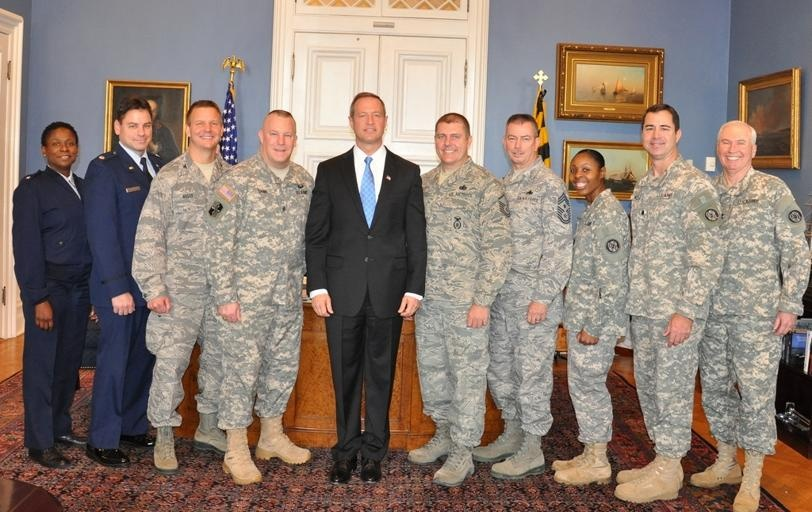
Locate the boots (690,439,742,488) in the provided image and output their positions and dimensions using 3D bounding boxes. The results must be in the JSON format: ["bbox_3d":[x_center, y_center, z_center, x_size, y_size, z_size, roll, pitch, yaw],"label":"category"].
[{"bbox_3d":[2.124,1.427,4.478,0.364,0.312,0.156,-5,5,1],"label":"boots"}]

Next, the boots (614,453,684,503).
[{"bbox_3d":[1.584,1.477,4.321,0.432,0.237,0.302,3,5,9],"label":"boots"}]

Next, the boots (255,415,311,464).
[{"bbox_3d":[-0.817,1.307,4.680,0.497,0.411,0.223,0,3,-7],"label":"boots"}]

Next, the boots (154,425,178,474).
[{"bbox_3d":[-1.659,1.308,4.460,0.132,0.291,0.330,4,11,-30],"label":"boots"}]

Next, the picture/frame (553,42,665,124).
[{"bbox_3d":[2.272,-1.943,7.289,1.207,0.828,0.370,4,14,7],"label":"picture/frame"}]

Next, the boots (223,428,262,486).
[{"bbox_3d":[-1.114,1.338,4.381,0.161,0.320,0.373,-3,14,-44],"label":"boots"}]

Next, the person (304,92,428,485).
[{"bbox_3d":[-0.270,0.222,4.296,0.785,2.507,0.640,0,15,-9],"label":"person"}]

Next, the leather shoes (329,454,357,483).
[{"bbox_3d":[-0.427,1.430,4.335,0.096,0.106,0.232,2,-6,11],"label":"leather shoes"}]

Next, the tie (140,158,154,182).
[{"bbox_3d":[-1.848,-0.621,4.603,0.055,0.231,0.060,-18,-28,-12],"label":"tie"}]

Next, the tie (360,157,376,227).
[{"bbox_3d":[-0.255,-0.436,4.281,0.107,0.436,0.157,2,14,-3],"label":"tie"}]
